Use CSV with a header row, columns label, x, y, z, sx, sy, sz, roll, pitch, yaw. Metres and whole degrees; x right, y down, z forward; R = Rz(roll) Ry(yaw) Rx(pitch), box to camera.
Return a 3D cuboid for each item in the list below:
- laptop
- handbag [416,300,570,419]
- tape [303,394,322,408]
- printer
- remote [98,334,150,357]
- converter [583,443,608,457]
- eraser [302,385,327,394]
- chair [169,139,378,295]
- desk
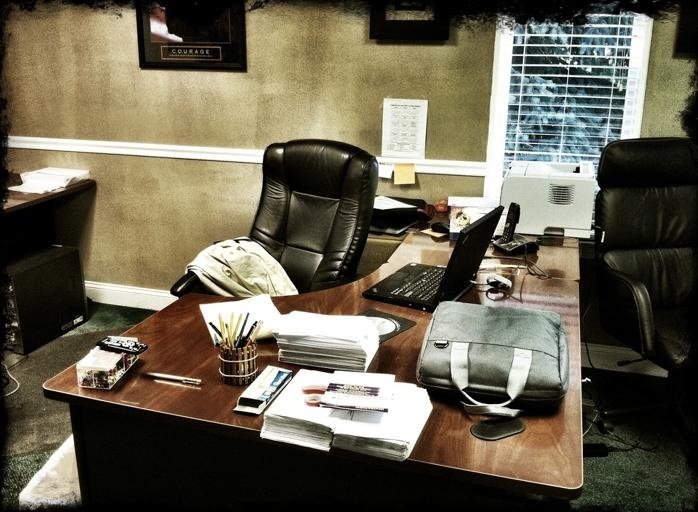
label,x,y,z,sx,sy,sz,roll,pitch,yaw
laptop,0.338,0.061,2.299,0.479,0.354,0.527,9,24,28
handbag,0.463,0.311,1.775,0.436,0.199,0.426,6,16,16
tape,-0.106,0.416,1.598,0.047,0.014,0.043,1,15,-2
printer,1.051,-0.291,3.029,0.455,0.322,0.431,5,24,14
remote,-0.734,0.292,1.810,0.093,0.020,0.089,7,14,1
converter,1.131,0.890,2.569,0.137,0.030,0.070,-1,26,18
eraser,-0.104,0.396,1.643,0.046,0.010,0.025,1,11,5
chair,-0.257,-0.305,3.395,0.855,1.103,0.994,18,16,28
desk,0.006,0.453,2.116,1.585,0.575,1.280,7,16,18
